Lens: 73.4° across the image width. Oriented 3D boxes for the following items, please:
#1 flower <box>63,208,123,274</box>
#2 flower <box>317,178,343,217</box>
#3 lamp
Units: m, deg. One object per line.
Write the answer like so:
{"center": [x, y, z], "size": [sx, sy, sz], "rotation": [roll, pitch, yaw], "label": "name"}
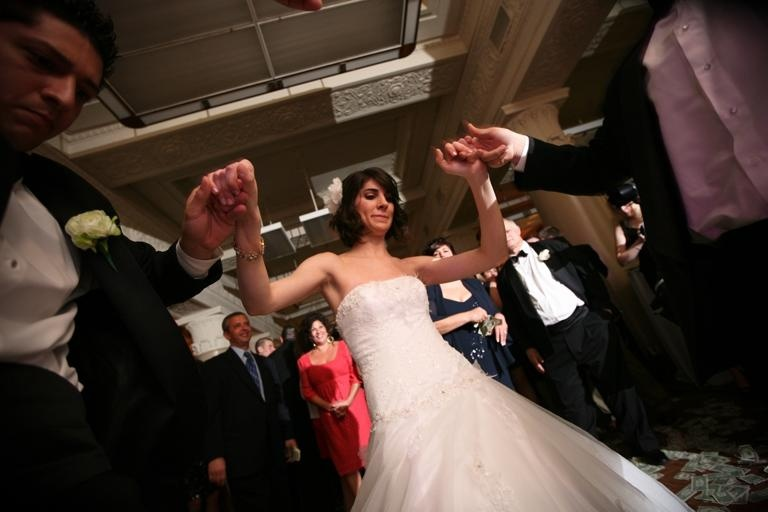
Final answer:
{"center": [-1.483, -0.114, 2.620], "size": [0.167, 0.264, 0.270], "rotation": [-50, 37, 17], "label": "flower"}
{"center": [-0.384, -0.434, 3.907], "size": [0.114, 0.274, 0.255], "rotation": [-8, -6, -25], "label": "flower"}
{"center": [-1.487, -0.714, 8.690], "size": [1.151, 1.241, 0.292], "rotation": [-33, 69, -26], "label": "lamp"}
